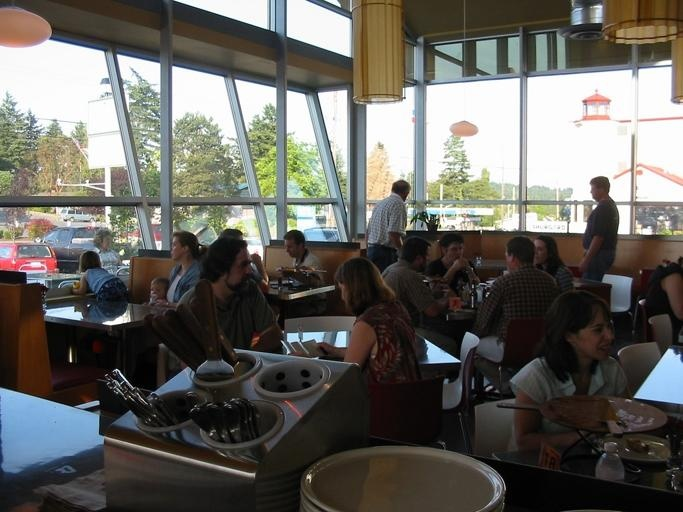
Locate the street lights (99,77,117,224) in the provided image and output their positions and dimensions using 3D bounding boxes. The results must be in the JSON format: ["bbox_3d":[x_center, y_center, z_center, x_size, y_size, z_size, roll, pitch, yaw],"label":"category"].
[{"bbox_3d":[-2.505,-1.144,6.222,0.125,1.587,0.197,0,2,6],"label":"street lights"}]

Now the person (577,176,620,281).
[{"bbox_3d":[2.752,-0.295,6.249,0.580,1.135,0.342,-2,2,-43],"label":"person"}]

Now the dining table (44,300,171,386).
[{"bbox_3d":[-1.527,0.567,3.737,0.780,0.395,0.412,8,15,34],"label":"dining table"}]

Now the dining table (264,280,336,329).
[{"bbox_3d":[-0.391,0.405,5.183,0.468,0.466,0.481,0,0,27],"label":"dining table"}]

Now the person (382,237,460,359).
[{"bbox_3d":[0.614,0.414,4.292,0.595,1.054,0.450,1,15,-7],"label":"person"}]

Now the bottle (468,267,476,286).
[{"bbox_3d":[1.091,0.172,4.827,0.091,0.125,0.033,-2,-13,-42],"label":"bottle"}]

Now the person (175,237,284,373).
[{"bbox_3d":[-0.569,0.329,2.932,0.510,0.836,0.420,-1,18,-20],"label":"person"}]

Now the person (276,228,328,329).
[{"bbox_3d":[-0.413,0.248,5.560,0.494,0.978,0.503,-13,26,-42],"label":"person"}]
